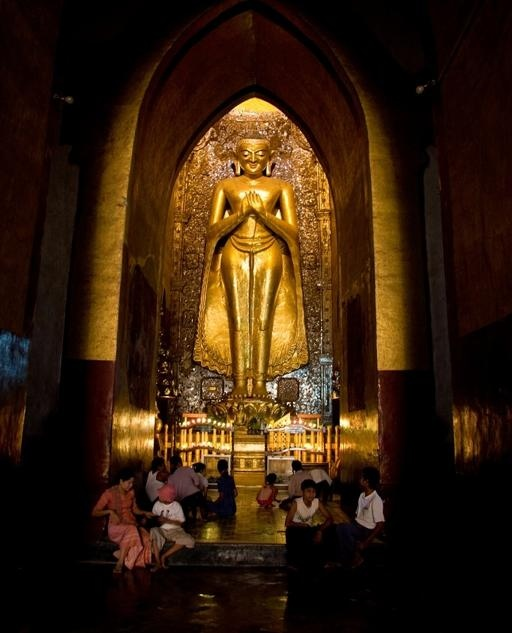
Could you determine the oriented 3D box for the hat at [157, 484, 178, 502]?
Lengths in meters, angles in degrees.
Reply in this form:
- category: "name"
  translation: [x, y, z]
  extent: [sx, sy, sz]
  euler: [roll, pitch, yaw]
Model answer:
- category: "hat"
  translation: [-0.554, 1.085, 3.191]
  extent: [0.083, 0.127, 0.114]
  euler: [10, 18, 6]
